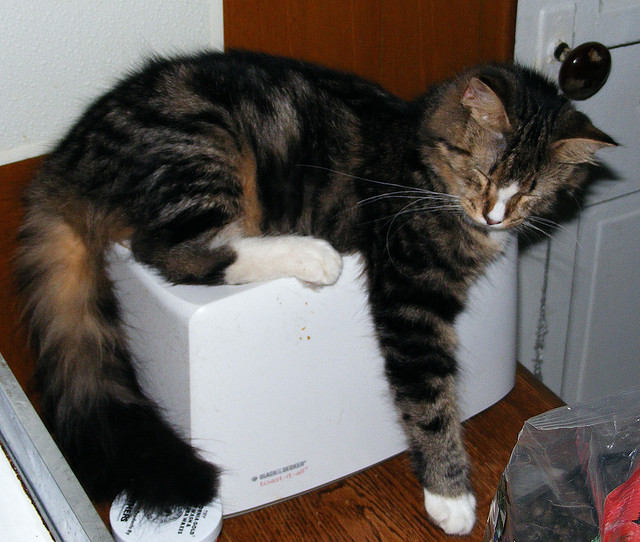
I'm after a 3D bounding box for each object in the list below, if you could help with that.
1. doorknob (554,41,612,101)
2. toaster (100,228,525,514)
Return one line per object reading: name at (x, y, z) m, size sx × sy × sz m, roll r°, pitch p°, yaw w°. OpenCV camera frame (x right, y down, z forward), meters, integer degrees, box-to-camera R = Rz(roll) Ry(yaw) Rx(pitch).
doorknob at (0.527, -0.396, 1.448) m, size 0.097 × 0.111 × 0.057 m, roll 3°, pitch 26°, yaw 20°
toaster at (-0.043, 0.160, 1.116) m, size 0.599 × 0.307 × 0.459 m, roll -14°, pitch 27°, yaw -30°
